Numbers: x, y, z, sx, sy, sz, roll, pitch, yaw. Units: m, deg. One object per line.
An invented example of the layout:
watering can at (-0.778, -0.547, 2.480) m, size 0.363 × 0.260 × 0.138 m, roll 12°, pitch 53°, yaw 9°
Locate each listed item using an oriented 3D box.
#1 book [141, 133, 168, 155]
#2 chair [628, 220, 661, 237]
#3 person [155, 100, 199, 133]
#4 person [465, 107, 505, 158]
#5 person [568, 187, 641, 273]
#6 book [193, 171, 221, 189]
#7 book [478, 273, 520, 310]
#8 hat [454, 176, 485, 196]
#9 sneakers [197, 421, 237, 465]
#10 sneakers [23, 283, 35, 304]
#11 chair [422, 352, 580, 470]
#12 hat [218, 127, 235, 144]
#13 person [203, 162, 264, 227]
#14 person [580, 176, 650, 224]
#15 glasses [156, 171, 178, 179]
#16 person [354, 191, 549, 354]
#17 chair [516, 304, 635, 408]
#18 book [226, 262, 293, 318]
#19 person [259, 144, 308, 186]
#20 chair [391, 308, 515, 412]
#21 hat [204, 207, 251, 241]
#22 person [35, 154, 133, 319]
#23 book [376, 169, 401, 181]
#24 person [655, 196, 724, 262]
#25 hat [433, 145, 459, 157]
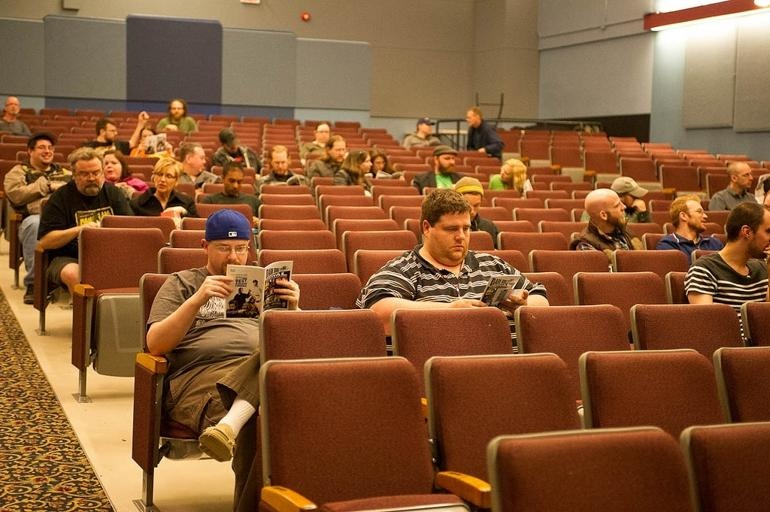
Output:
book at (-3.148, -1.540, 8.074) m, size 0.296 × 0.297 × 0.270 m, roll 7°, pitch 7°, yaw -23°
chair at (2.549, -0.266, 5.778) m, size 0.188 × 0.271 × 0.212 m, roll 1°, pitch -3°, yaw -17°
person at (-3.858, -2.519, 10.868) m, size 0.793 × 0.713 × 0.505 m, roll 2°, pitch 1°, yaw -13°
person at (1.880, -2.370, 11.208) m, size 0.525 × 0.623 × 0.955 m, roll 5°, pitch 8°, yaw -35°
person at (1.934, -0.292, 5.108) m, size 0.872 × 0.616 × 0.412 m, roll -23°, pitch 19°, yaw -35°
book at (-2.227, -0.965, 7.345) m, size 0.296 × 0.116 × 0.294 m, roll -10°, pitch 20°, yaw -34°
book at (0.637, 0.206, 3.280) m, size 0.196 × 0.220 × 0.023 m, roll -8°, pitch 39°, yaw -40°
hat at (0.783, -0.620, 5.295) m, size 0.234 × 0.159 × 0.243 m, roll 3°, pitch 4°, yaw 32°
sneakers at (-0.740, 0.820, 2.645) m, size 0.180 × 0.141 × 0.066 m, roll 39°, pitch 25°, yaw -19°
sneakers at (-3.489, 0.363, 5.713) m, size 0.075 × 0.152 × 0.289 m, roll 4°, pitch 9°, yaw -37°
chair at (0.415, 0.537, 2.400) m, size 0.498 × 0.603 × 0.441 m, roll 0°, pitch -8°, yaw -15°
hat at (-2.344, -1.766, 8.584) m, size 0.194 × 0.258 × 0.258 m, roll 12°, pitch 39°, yaw -11°
person at (-1.662, -0.639, 6.322) m, size 0.717 × 0.756 × 0.394 m, roll -2°, pitch 13°, yaw -34°
person at (2.565, -0.619, 6.393) m, size 0.773 × 0.469 × 0.495 m, roll 3°, pitch 16°, yaw 28°
glasses at (-2.076, -0.778, 5.593) m, size 0.157 × 0.058 × 0.049 m, roll 7°, pitch 7°, yaw -24°
person at (0.435, 0.157, 3.482) m, size 1.201 × 1.068 × 0.746 m, roll -2°, pitch -2°, yaw -23°
chair at (0.871, 0.492, 3.092) m, size 0.452 × 0.674 × 0.525 m, roll 0°, pitch -6°, yaw -12°
book at (-0.590, 0.163, 2.722) m, size 0.245 × 0.218 × 0.026 m, roll -2°, pitch 3°, yaw -35°
person at (-1.348, -1.161, 7.602) m, size 0.765 × 0.593 × 0.377 m, roll -6°, pitch 30°, yaw -11°
chair at (0.279, 0.491, 2.925) m, size 0.417 × 0.619 × 0.466 m, roll 0°, pitch -4°, yaw -18°
hat at (-0.807, -0.171, 3.002) m, size 0.164 × 0.126 × 0.174 m, roll -4°, pitch 14°, yaw -15°
person at (-2.505, -0.182, 5.045) m, size 0.731 × 1.421 × 0.736 m, roll 9°, pitch 11°, yaw 13°
book at (0.038, -1.193, 8.553) m, size 0.354 × 0.126 × 0.356 m, roll 9°, pitch 7°, yaw -8°
person at (2.685, -0.224, 5.155) m, size 0.778 × 0.634 × 0.450 m, roll 0°, pitch -2°, yaw -22°
hat at (0.706, -1.352, 7.527) m, size 0.255 × 0.104 × 0.276 m, roll -3°, pitch 8°, yaw -45°
